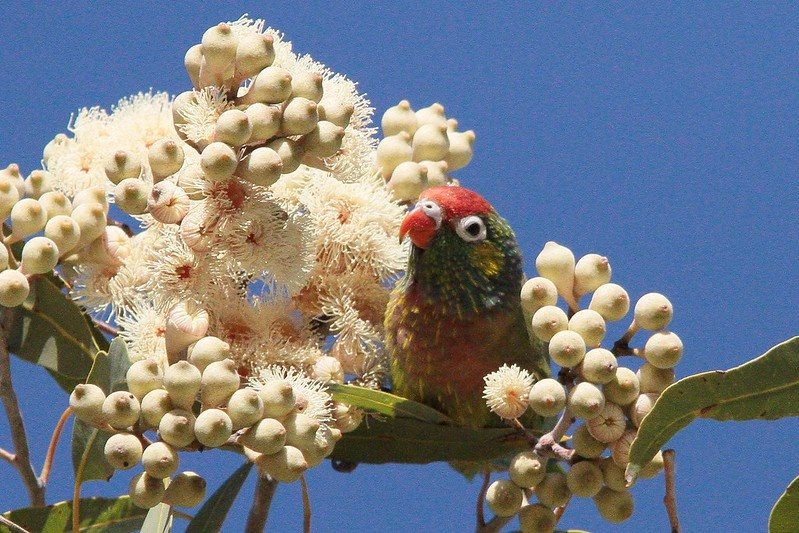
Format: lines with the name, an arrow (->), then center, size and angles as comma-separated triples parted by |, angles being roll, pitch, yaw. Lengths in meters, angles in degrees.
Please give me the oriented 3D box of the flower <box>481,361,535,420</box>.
flower -> 0.117, 0.132, 1.638 | 0.047, 0.056, 0.049 | -3, -7, -18
